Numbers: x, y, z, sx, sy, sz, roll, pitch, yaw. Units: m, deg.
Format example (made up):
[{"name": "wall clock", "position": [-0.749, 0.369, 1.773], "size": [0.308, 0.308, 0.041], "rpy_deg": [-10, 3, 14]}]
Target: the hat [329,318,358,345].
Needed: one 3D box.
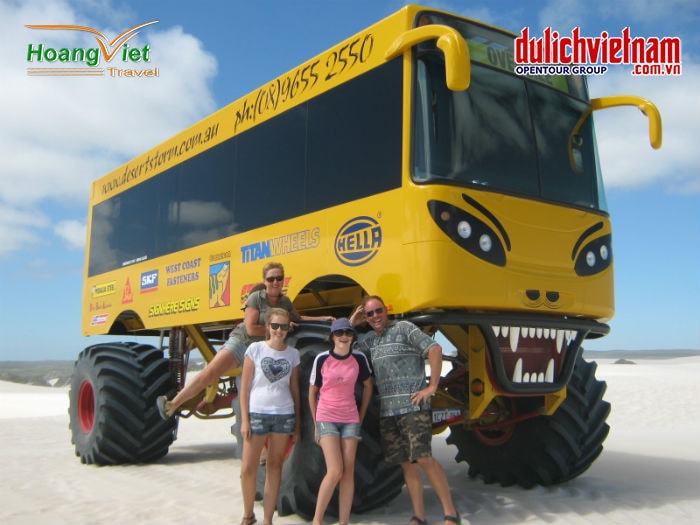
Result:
[{"name": "hat", "position": [-0.065, 0.656, 5.088], "size": [0.202, 0.157, 0.292], "rpy_deg": [2, -14, -7]}]

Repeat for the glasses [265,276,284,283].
[{"name": "glasses", "position": [-0.788, 0.168, 5.564], "size": [0.169, 0.073, 0.066], "rpy_deg": [0, -6, -11]}]

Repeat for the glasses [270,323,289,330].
[{"name": "glasses", "position": [-0.669, 0.605, 5.121], "size": [0.176, 0.067, 0.061], "rpy_deg": [1, -7, -14]}]
